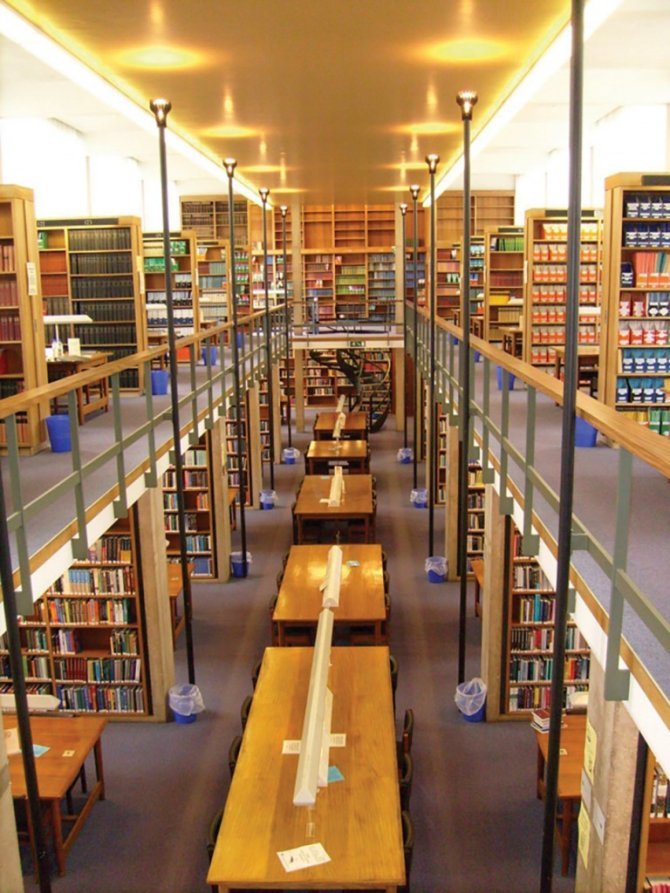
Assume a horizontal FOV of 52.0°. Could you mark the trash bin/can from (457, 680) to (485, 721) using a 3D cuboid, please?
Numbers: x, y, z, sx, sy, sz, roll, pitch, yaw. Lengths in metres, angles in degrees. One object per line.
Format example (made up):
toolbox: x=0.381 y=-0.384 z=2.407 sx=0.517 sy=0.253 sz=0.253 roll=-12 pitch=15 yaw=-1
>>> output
trash bin/can: x=1.101 y=2.103 z=5.703 sx=0.251 sy=0.332 sz=0.303 roll=-2 pitch=-3 yaw=-5

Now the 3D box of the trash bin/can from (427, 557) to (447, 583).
trash bin/can: x=1.264 y=1.536 z=8.577 sx=0.260 sy=0.282 sz=0.274 roll=0 pitch=4 yaw=-2

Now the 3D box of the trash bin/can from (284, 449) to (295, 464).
trash bin/can: x=-0.973 y=0.251 z=14.818 sx=0.225 sy=0.256 sz=0.241 roll=0 pitch=16 yaw=5

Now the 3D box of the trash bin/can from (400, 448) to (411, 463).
trash bin/can: x=1.504 y=0.230 z=14.583 sx=0.236 sy=0.270 sz=0.252 roll=0 pitch=2 yaw=-1

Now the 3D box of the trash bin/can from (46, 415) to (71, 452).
trash bin/can: x=-2.125 y=-0.092 z=5.288 sx=0.216 sy=0.281 sz=0.242 roll=3 pitch=10 yaw=6

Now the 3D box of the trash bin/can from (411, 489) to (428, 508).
trash bin/can: x=1.437 y=0.899 z=11.558 sx=0.246 sy=0.273 sz=0.262 roll=0 pitch=3 yaw=5

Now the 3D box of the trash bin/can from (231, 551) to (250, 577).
trash bin/can: x=-1.209 y=1.567 z=8.934 sx=0.267 sy=0.333 sz=0.316 roll=-2 pitch=8 yaw=-9
